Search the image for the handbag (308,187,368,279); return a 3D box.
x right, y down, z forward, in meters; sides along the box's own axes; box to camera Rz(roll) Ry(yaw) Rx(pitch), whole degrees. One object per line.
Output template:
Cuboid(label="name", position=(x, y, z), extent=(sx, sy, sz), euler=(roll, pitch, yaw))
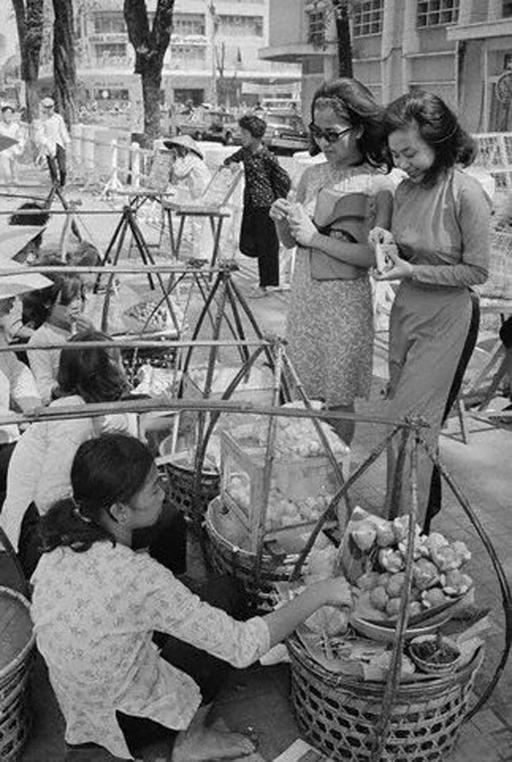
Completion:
Cuboid(label="handbag", position=(0.254, -0.503, 2.518), extent=(0.145, 0.215, 0.291), euler=(-28, 49, 1))

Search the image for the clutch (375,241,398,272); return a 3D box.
Cuboid(label="clutch", position=(0.375, -0.363, 2.170), extent=(0.073, 0.091, 0.020), euler=(3, -14, -17))

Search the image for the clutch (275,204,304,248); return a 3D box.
Cuboid(label="clutch", position=(0.113, -0.529, 2.586), extent=(0.035, 0.115, 0.078), euler=(-5, 16, 19))

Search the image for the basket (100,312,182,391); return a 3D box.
Cuboid(label="basket", position=(-0.548, -0.203, 3.786), extent=(0.373, 0.491, 0.180), euler=(5, -9, 0))
